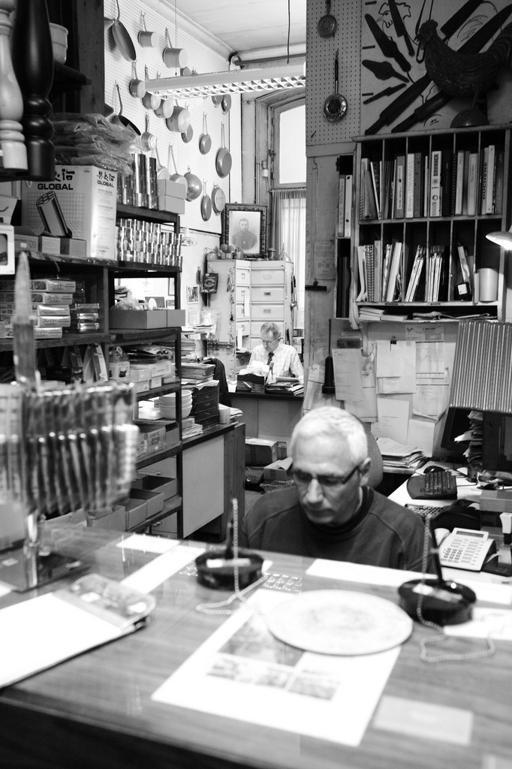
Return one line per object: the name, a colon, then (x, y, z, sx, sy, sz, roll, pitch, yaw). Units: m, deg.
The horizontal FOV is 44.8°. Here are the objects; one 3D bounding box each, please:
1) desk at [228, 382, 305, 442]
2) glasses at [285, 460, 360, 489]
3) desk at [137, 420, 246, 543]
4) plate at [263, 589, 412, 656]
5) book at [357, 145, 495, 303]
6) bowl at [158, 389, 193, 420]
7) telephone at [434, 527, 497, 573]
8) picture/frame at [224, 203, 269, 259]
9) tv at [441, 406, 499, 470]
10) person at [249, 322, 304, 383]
desk: (0.134, 0.304, 5.952, 0.599, 0.726, 0.446, 2, 2, 25)
glasses: (0.157, 0.215, 1.493, 0.174, 0.043, 0.134, -1, 3, 16)
desk: (-0.410, 0.566, 3.649, 0.312, 0.859, 0.813, 2, 9, 20)
plate: (0.133, 0.374, 0.993, 0.237, 0.023, 0.249, -2, 3, -1)
book: (1.002, -0.930, 3.617, 0.779, 1.119, 0.288, 0, 0, 27)
bowl: (-0.489, 0.122, 3.783, 0.141, 0.132, 0.165, -1, 2, -3)
telephone: (0.625, 0.488, 1.857, 0.158, 0.100, 0.245, 1, 8, 29)
picture/frame: (-0.177, -2.119, 8.644, 0.654, 0.949, 0.107, -1, 6, -11)
tv: (1.034, 0.254, 3.071, 0.127, 0.360, 0.430, 2, 7, -12)
person: (0.194, -0.354, 7.103, 0.548, 0.943, 0.462, 1, 21, 14)
